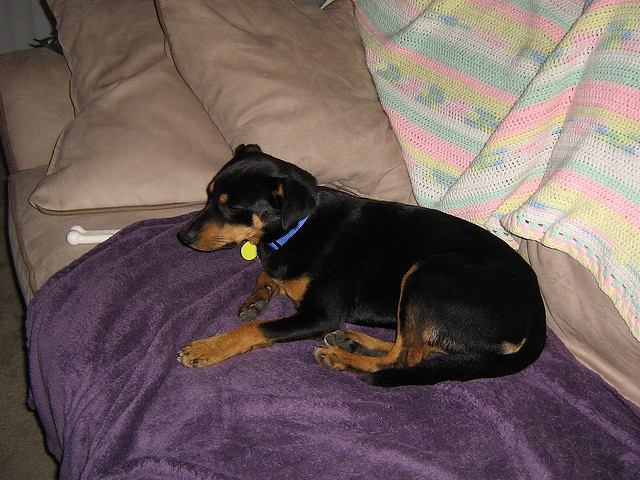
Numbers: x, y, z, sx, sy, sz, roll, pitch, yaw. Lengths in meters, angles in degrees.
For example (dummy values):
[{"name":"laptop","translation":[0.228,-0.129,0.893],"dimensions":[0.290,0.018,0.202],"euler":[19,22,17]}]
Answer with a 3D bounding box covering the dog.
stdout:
[{"name":"dog","translation":[0.242,0.055,2.680],"dimensions":[1.501,0.960,0.774],"euler":[2,104,7]}]
